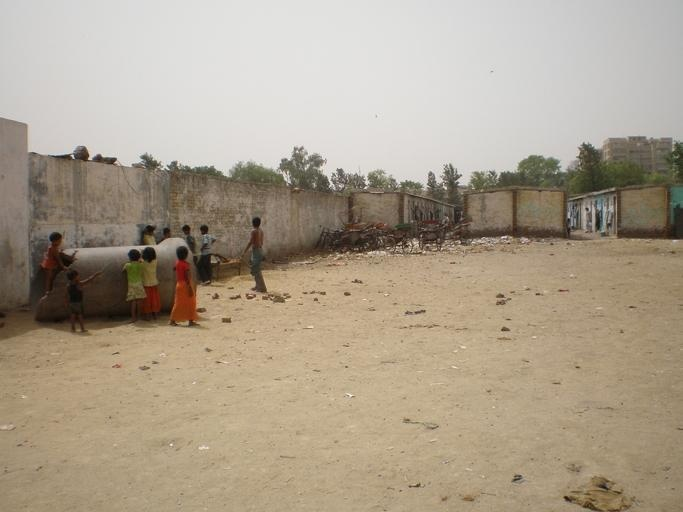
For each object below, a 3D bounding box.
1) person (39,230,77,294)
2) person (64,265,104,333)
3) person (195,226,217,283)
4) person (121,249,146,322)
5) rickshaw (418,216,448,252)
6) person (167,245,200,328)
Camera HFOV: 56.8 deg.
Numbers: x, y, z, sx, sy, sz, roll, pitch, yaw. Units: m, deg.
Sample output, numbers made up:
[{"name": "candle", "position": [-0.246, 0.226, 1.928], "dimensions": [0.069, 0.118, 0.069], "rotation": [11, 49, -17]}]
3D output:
[{"name": "person", "position": [-4.758, 0.142, 10.635], "dimensions": [0.549, 1.024, 0.337], "rotation": [5, 5, -37]}, {"name": "person", "position": [-4.194, 0.672, 10.311], "dimensions": [0.553, 0.994, 1.015], "rotation": [-6, 15, -23]}, {"name": "person", "position": [-3.252, -0.022, 15.079], "dimensions": [0.403, 1.284, 0.647], "rotation": [-3, 14, -11]}, {"name": "person", "position": [-3.559, 0.483, 10.882], "dimensions": [0.331, 1.173, 0.513], "rotation": [-5, 14, -20]}, {"name": "rickshaw", "position": [3.709, -0.858, 25.833], "dimensions": [0.921, 1.113, 1.719], "rotation": [1, 6, 4]}, {"name": "person", "position": [-2.751, 0.503, 10.839], "dimensions": [0.459, 1.242, 0.910], "rotation": [-3, 14, -14]}]
